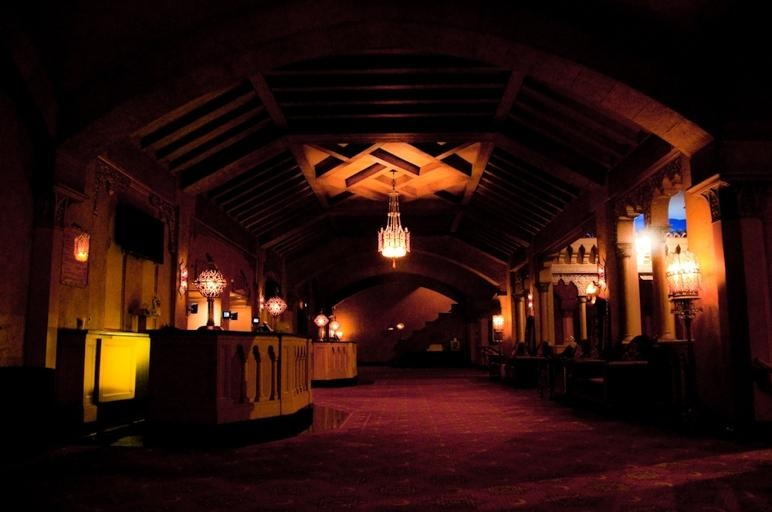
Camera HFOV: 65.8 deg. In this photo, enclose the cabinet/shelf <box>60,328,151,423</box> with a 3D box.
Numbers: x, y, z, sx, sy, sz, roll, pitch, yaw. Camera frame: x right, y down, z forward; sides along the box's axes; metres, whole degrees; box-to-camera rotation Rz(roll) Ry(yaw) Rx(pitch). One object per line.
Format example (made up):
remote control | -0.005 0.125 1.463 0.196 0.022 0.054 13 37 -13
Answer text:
cabinet/shelf | -4.013 1.701 8.402 0.535 1.293 1.418 -2 -7 12
